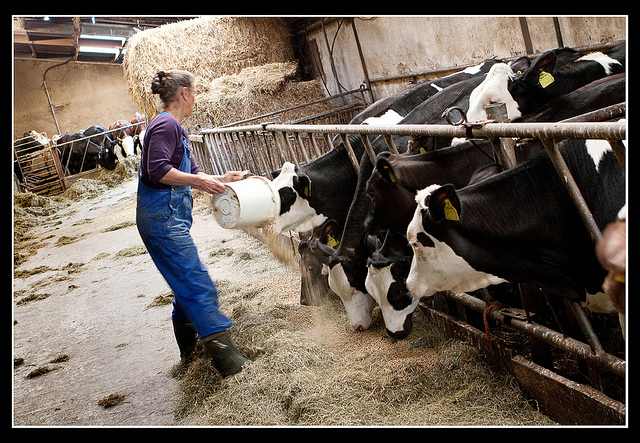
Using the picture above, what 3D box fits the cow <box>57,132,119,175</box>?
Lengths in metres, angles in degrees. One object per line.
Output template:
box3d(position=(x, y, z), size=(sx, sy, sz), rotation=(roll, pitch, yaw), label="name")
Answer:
box3d(position=(-8.304, -2.376, 15.826), size=(2.668, 0.826, 1.361), rotation=(10, -24, 30), label="cow")

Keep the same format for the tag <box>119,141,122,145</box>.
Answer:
box3d(position=(-7.227, -2.844, 15.952), size=(0.103, 0.087, 0.096), rotation=(-10, 16, -6), label="tag")

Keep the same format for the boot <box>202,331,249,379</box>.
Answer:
box3d(position=(-0.619, 0.963, 3.216), size=(0.349, 0.301, 0.158), rotation=(-16, -2, 14), label="boot")

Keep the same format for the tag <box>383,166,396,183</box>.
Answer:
box3d(position=(0.404, -0.276, 2.669), size=(0.088, 0.080, 0.085), rotation=(-3, 8, 0), label="tag")

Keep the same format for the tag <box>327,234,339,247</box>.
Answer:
box3d(position=(0.102, 0.167, 3.673), size=(0.093, 0.061, 0.069), rotation=(6, 11, 20), label="tag")

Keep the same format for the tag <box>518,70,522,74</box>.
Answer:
box3d(position=(1.606, -1.200, 3.559), size=(0.038, 0.013, 0.046), rotation=(5, 30, 6), label="tag")

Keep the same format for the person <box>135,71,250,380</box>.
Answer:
box3d(position=(-0.968, 0.016, 3.240), size=(0.660, 2.217, 0.677), rotation=(-18, 12, -21), label="person")

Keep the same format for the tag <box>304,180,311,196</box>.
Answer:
box3d(position=(-0.102, -0.258, 3.748), size=(0.054, 0.057, 0.067), rotation=(-1, -25, 1), label="tag")

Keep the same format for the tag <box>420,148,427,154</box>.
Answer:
box3d(position=(0.692, -0.470, 2.973), size=(0.035, 0.034, 0.028), rotation=(-14, -16, 25), label="tag")

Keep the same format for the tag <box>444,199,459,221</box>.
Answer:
box3d(position=(0.615, -0.057, 2.098), size=(0.016, 0.102, 0.067), rotation=(-22, 15, -36), label="tag")

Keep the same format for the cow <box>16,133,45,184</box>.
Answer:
box3d(position=(-10.469, -2.283, 15.909), size=(1.008, 1.461, 2.407), rotation=(-19, 13, -27), label="cow")

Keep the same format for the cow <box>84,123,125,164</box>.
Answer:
box3d(position=(-7.862, -2.874, 16.222), size=(0.927, 1.004, 1.624), rotation=(-18, 12, -27), label="cow")
